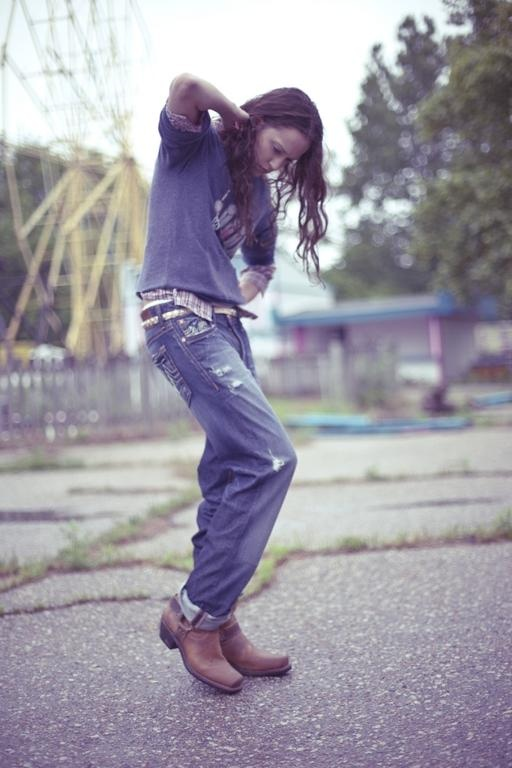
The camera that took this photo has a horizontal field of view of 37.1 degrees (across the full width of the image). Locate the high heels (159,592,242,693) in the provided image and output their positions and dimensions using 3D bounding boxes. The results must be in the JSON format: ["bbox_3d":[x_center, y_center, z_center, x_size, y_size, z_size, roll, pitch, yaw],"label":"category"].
[{"bbox_3d":[-0.123,0.603,1.823,0.279,0.150,0.102,28,5,35],"label":"high heels"}]

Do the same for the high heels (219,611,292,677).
[{"bbox_3d":[-0.019,0.644,1.884,0.225,0.144,0.088,-2,-3,15],"label":"high heels"}]

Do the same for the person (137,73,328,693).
[{"bbox_3d":[-0.004,0.003,1.786,0.461,1.353,0.307,-5,3,-31],"label":"person"}]
